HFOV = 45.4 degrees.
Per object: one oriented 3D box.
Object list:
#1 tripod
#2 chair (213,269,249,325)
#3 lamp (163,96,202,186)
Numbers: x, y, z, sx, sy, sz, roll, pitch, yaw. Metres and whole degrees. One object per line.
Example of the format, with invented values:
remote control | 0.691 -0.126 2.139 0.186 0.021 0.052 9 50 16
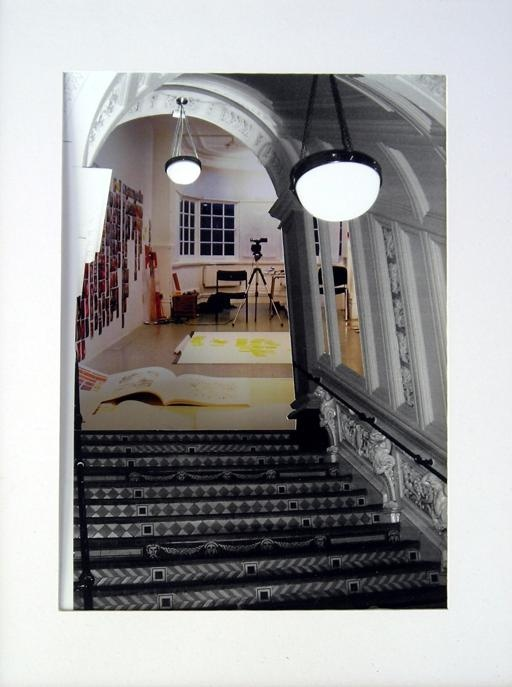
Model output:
tripod | 0.006 -0.297 3.741 0.310 0.370 0.107 0 -8 -3
chair | -0.145 -0.341 3.852 0.194 0.326 0.219 -2 28 0
lamp | -0.408 -1.155 3.540 0.217 0.421 0.263 2 -8 -17
